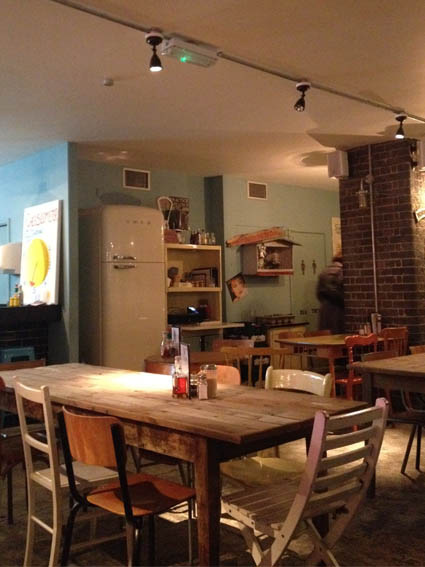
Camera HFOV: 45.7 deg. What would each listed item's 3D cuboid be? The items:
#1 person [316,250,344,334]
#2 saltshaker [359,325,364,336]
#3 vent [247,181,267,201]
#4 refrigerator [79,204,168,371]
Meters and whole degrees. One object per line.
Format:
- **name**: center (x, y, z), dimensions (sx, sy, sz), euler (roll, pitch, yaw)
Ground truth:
- **person**: center (1.923, 0.255, 8.250), dimensions (0.377, 0.991, 0.921), euler (-1, 4, 12)
- **saltshaker**: center (1.741, 0.566, 5.956), dimensions (0.061, 0.097, 0.101), euler (-2, -8, 13)
- **vent**: center (0.716, -1.506, 8.189), dimensions (0.033, 0.298, 0.461), euler (2, 5, 45)
- **refrigerator**: center (-1.046, 0.045, 5.838), dimensions (1.040, 1.887, 0.581), euler (-3, 4, -10)
